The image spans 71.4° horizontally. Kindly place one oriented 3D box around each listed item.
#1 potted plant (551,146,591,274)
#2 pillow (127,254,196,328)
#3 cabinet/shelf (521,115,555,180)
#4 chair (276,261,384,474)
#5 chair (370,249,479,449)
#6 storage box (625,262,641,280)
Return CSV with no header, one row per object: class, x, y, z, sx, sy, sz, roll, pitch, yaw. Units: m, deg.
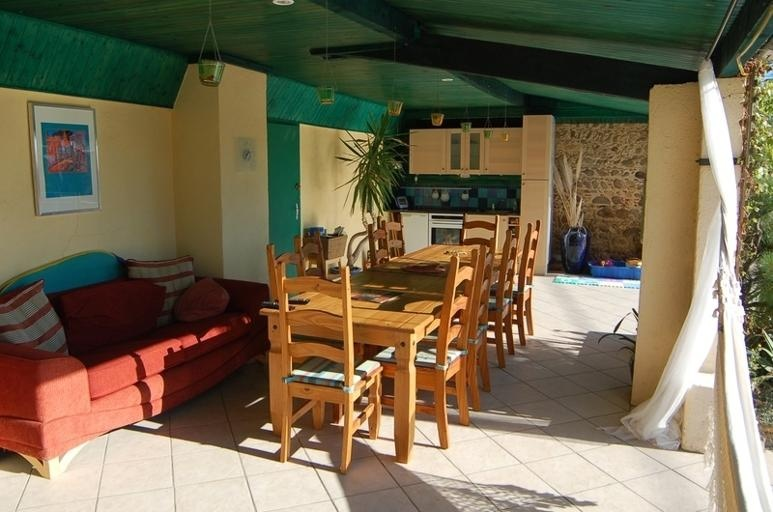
potted plant,3.313,-0.826,9.711,0.723,2.262,0.392,7,11,31
pillow,-2.184,0.364,5.169,0.228,0.599,0.605,-25,-9,33
cabinet/shelf,2.680,-1.905,9.491,0.555,1.127,0.253,3,9,8
chair,-0.431,0.771,4.219,0.806,1.543,0.950,2,9,0
chair,0.382,0.712,4.428,0.637,1.545,1.030,4,9,17
storage box,4.232,0.261,9.173,0.226,0.300,0.211,10,-27,-33
